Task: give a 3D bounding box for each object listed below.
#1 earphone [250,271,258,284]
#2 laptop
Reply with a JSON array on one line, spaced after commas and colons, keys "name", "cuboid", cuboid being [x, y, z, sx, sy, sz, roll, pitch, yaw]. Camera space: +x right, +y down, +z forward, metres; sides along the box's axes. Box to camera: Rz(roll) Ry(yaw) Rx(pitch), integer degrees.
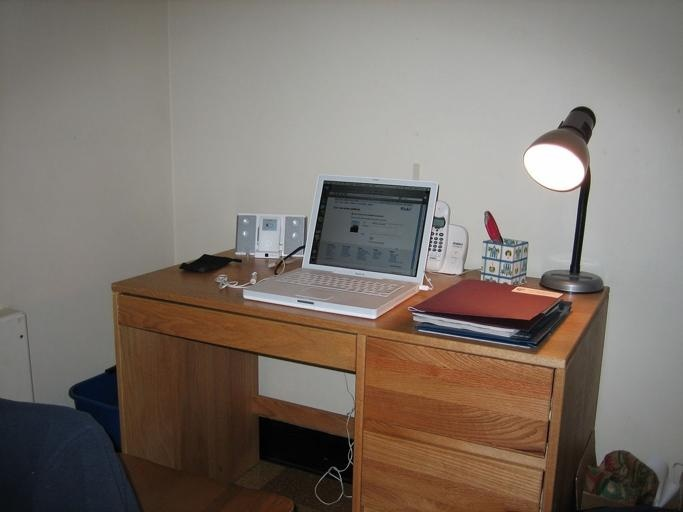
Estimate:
[{"name": "earphone", "cuboid": [-0.282, 0.072, 1.660, 0.017, 0.022, 0.056, 2, 33, 2]}, {"name": "laptop", "cuboid": [0.040, -0.032, 1.645, 0.484, 0.348, 0.490, 6, 8, 28]}]
